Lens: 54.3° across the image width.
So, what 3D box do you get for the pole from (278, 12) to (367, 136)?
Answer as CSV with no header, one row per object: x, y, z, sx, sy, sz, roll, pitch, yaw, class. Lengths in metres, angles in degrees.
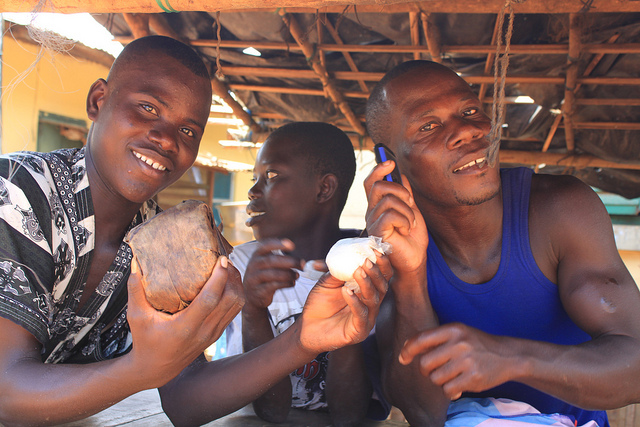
0.113,-1.158,5.312,0.219,0.159,1.954,6,-18,25,pole

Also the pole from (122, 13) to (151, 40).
-1.331,-1.396,4.587,0.178,0.181,0.315,2,5,-10,pole

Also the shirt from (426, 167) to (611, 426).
1.221,0.522,3.904,1.125,1.604,0.453,4,7,8,shirt

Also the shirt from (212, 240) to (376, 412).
-0.216,0.834,4.730,1.223,1.178,0.487,3,-4,11,shirt

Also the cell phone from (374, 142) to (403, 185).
0.421,-0.309,3.835,0.034,0.171,0.330,-12,-19,15,cell phone
